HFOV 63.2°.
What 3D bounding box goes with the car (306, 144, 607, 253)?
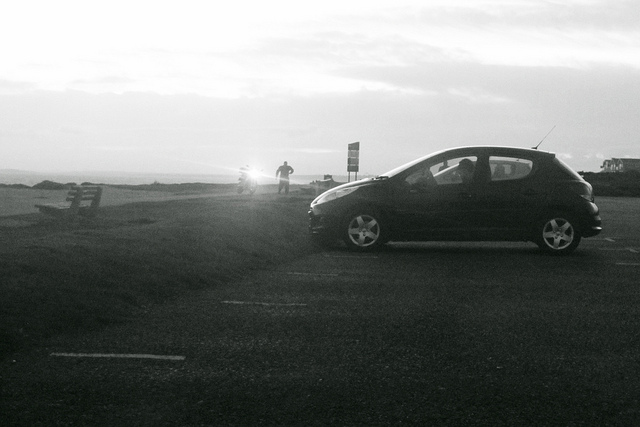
[{"bbox_3d":[3.283,-0.261,12.777,4.982,1.839,2.914,2,-3,3],"label":"car"}]
